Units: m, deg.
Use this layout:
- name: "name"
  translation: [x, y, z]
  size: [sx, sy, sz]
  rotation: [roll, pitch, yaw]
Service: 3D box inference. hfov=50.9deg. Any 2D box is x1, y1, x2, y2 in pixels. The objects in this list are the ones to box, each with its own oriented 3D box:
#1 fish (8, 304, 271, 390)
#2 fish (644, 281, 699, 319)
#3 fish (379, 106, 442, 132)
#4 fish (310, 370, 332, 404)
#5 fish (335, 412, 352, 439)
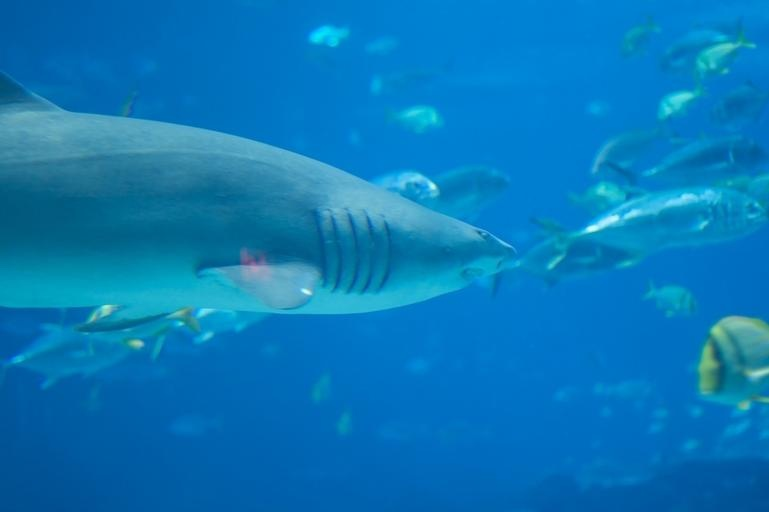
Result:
- name: "fish"
  translation: [-2.574, 0.906, 8.254]
  size: [3.124, 0.589, 0.711]
  rotation: [-8, 19, -10]
- name: "fish"
  translation: [3.125, 0.471, 8.941]
  size: [0.476, 0.370, 0.574]
  rotation: [-4, -10, 5]
- name: "fish"
  translation: [0.301, -1.509, 8.813]
  size: [0.532, 0.277, 0.174]
  rotation: [2, -14, 4]
- name: "fish"
  translation: [-0.684, 1.471, 8.980]
  size: [0.190, 0.331, 0.205]
  rotation: [1, -13, -24]
- name: "fish"
  translation: [-0.441, 1.864, 9.022]
  size: [0.153, 0.267, 0.145]
  rotation: [0, -12, -16]
